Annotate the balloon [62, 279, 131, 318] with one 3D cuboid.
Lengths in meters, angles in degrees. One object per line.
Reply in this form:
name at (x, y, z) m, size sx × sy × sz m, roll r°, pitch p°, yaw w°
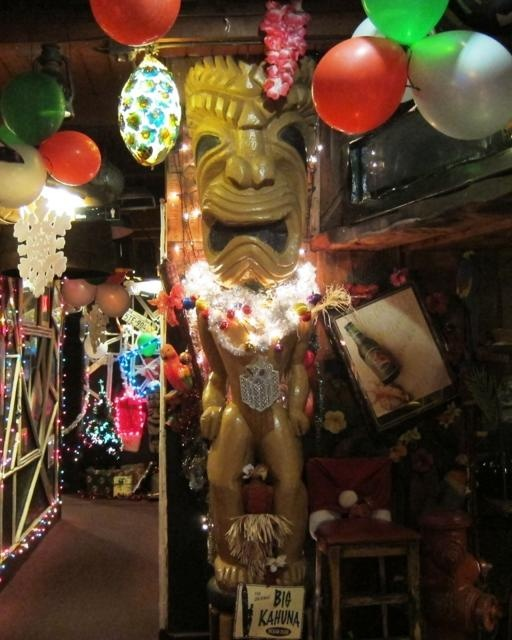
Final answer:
balloon at (-1.279, -0.196, 5.021) m, size 0.518 × 0.262 × 0.251 m, roll -5°, pitch 35°, yaw -37°
